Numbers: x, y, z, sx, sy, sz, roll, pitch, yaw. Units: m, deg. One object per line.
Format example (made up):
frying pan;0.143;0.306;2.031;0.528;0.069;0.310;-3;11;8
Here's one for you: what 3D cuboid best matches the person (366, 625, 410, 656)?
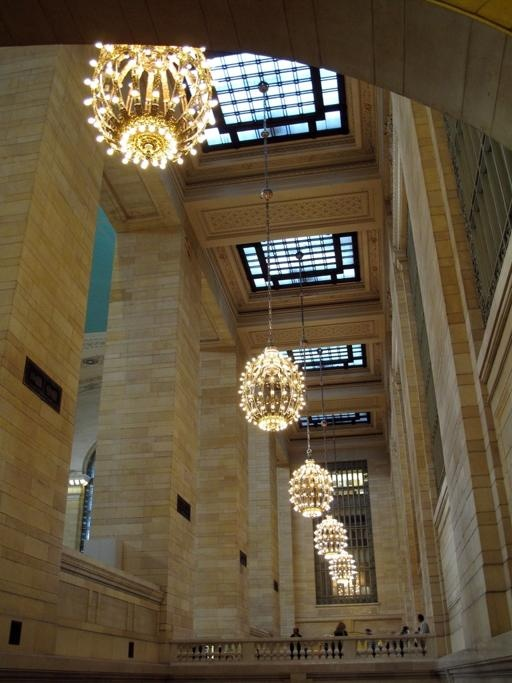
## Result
person;2.217;5.110;9.674;0.720;0.334;1.345;-9;-28;9
